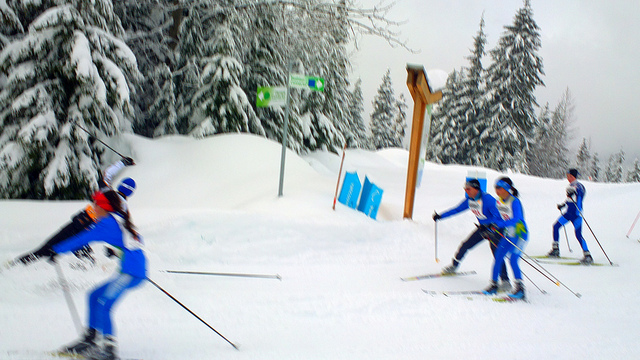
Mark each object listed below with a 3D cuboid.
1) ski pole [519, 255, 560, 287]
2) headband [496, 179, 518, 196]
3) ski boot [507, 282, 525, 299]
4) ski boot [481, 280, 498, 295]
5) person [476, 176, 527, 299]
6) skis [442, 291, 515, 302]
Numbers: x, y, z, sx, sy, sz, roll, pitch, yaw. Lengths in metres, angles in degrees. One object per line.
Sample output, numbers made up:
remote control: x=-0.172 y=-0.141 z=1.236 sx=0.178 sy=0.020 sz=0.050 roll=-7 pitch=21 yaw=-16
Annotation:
ski pole: x=6.592 y=2.808 z=16.523 sx=1.533 sy=0.063 sz=0.042 roll=42 pitch=4 yaw=19
headband: x=5.293 y=0.248 z=15.573 sx=0.651 sy=0.171 sz=0.250 roll=47 pitch=6 yaw=14
ski boot: x=5.463 y=3.096 z=15.219 sx=0.433 sy=0.444 sz=0.106 roll=3 pitch=5 yaw=2
ski boot: x=4.762 y=3.017 z=15.372 sx=0.434 sy=0.387 sz=0.232 roll=4 pitch=6 yaw=16
person: x=5.205 y=1.628 z=15.308 sx=1.140 sy=3.314 sz=0.521 roll=4 pitch=6 yaw=18
skis: x=4.437 y=3.226 z=15.203 sx=1.912 sy=0.199 sz=0.291 roll=3 pitch=6 yaw=0
